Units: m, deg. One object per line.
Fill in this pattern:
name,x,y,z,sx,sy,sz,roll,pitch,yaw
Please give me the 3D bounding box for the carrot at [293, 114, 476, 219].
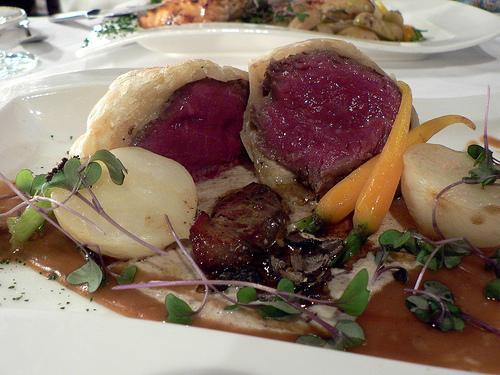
carrot,0.353,-0.053,1.380,0.434,0.076,0.089,-32,33,-3
